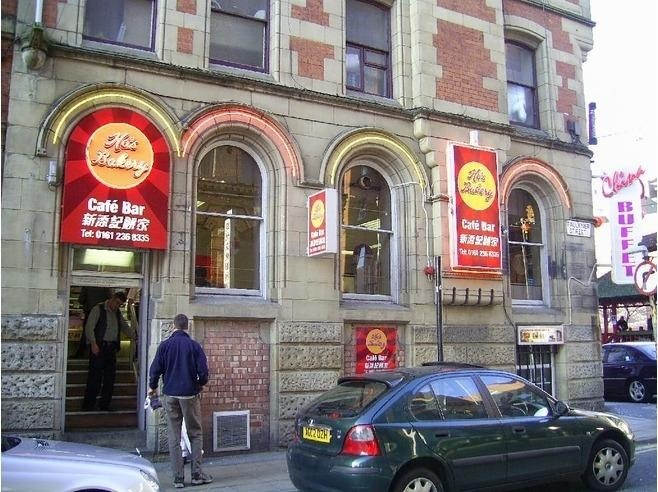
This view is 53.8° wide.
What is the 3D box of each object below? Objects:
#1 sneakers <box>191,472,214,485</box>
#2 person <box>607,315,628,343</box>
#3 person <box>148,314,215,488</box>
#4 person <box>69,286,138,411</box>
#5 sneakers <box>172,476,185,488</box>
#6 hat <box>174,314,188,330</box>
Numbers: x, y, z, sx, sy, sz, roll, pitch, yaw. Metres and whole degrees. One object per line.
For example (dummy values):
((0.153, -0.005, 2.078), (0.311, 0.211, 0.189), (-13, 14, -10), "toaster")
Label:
((-1.948, 3.583, 10.008), (0.377, 0.169, 0.139), (3, -5, -43), "sneakers")
((15.018, 4.281, 33.578), (0.888, 1.341, 2.764), (-3, -10, 24), "person")
((-2.269, 2.369, 10.049), (0.967, 2.597, 0.360), (3, -9, -11), "person")
((-4.346, 2.026, 12.683), (0.839, 2.256, 0.959), (2, -9, -10), "person")
((-2.238, 3.573, 9.818), (0.187, 0.165, 0.197), (6, -10, -29), "sneakers")
((-2.331, 1.200, 10.354), (0.185, 0.249, 0.241), (3, 12, -8), "hat")
